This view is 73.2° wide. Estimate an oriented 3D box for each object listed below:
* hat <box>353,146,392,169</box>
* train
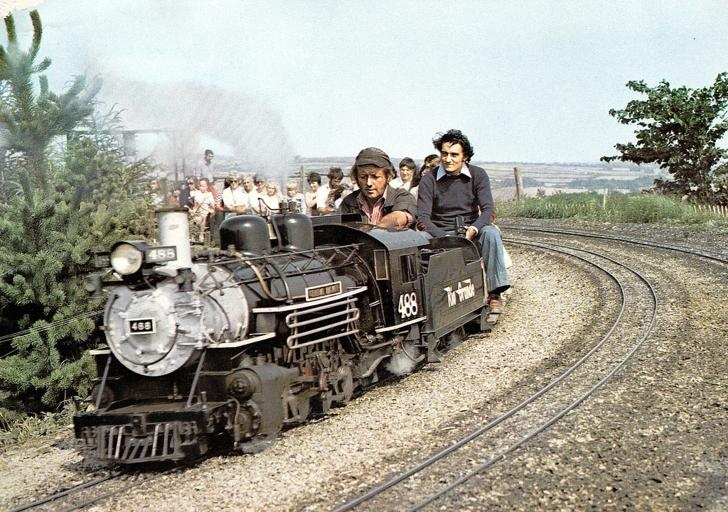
[{"bbox_3d":[0.165,-1.554,7.853,0.579,0.318,0.358,-5,8,-10],"label":"hat"},{"bbox_3d":[-0.455,0.837,7.453,2.320,2.197,6.284,-3,0,29],"label":"train"}]
